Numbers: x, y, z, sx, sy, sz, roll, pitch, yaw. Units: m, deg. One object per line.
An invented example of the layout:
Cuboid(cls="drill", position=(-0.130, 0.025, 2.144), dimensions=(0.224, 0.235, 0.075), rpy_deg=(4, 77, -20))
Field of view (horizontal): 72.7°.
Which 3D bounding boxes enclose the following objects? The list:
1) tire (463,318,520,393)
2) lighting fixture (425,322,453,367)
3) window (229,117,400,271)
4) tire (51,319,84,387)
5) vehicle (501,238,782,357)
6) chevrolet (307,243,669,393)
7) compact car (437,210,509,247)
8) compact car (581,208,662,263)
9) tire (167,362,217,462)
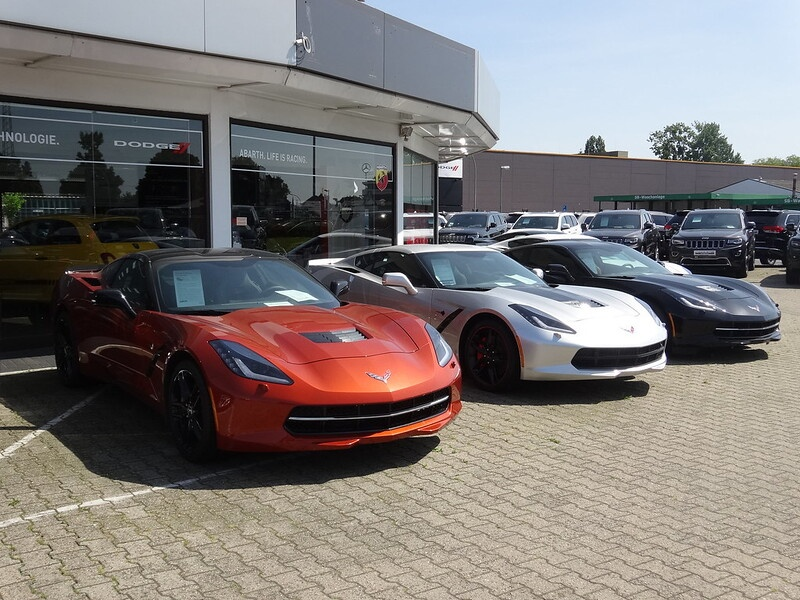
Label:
Cuboid(cls="tire", position=(1.184, 0.672, 6.593), dimensions=(0.381, 0.849, 0.983), rpy_deg=(1, 10, -33))
Cuboid(cls="lighting fixture", position=(0.331, 0.394, 4.868), dimensions=(0.211, 0.347, 0.093), rpy_deg=(-42, -2, -12))
Cuboid(cls="window", position=(-1.772, -2.407, 12.501), dimensions=(0.067, 2.601, 5.375), rpy_deg=(2, 6, 35))
Cuboid(cls="tire", position=(-3.927, 0.628, 6.419), dimensions=(0.279, 0.708, 0.810), rpy_deg=(-1, 21, -36))
Cuboid(cls="vehicle", position=(3.614, -0.422, 10.138), dimensions=(2.766, 1.264, 5.547), rpy_deg=(-11, 18, -37))
Cuboid(cls="chevrolet", position=(0.894, 0.118, 7.440), dimensions=(4.405, 1.096, 2.263), rpy_deg=(11, 10, 41))
Cuboid(cls="compact car", position=(3.743, -3.688, 27.964), dimensions=(2.275, 1.532, 4.659), rpy_deg=(2, 6, 30))
Cuboid(cls="compact car", position=(9.080, -2.793, 22.108), dimensions=(2.304, 1.573, 4.795), rpy_deg=(4, 5, 31))
Cuboid(cls="tire", position=(-1.637, 0.895, 4.331), dimensions=(0.724, 0.850, 0.115), rpy_deg=(4, 5, 43))
